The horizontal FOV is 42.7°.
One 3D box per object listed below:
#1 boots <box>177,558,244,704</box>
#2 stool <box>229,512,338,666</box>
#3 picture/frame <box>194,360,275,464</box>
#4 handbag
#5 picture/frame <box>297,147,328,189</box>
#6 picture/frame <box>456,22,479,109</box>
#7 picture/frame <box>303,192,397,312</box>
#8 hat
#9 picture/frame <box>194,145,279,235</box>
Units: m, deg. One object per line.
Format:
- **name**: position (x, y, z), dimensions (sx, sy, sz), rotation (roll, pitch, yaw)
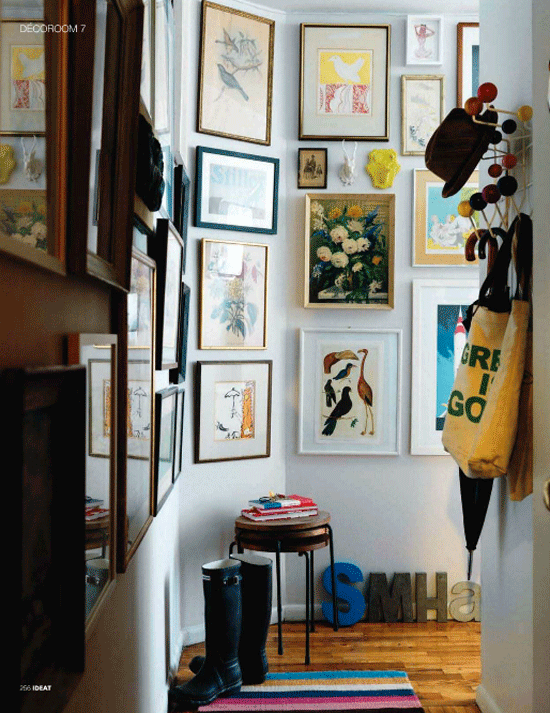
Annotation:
- **boots**: position (-0.211, 0.939, 2.414), dimensions (0.187, 0.449, 0.365), rotation (2, -2, 4)
- **stool**: position (0.116, 0.826, 2.920), dimensions (0.438, 0.697, 0.544), rotation (-5, -6, 32)
- **picture/frame**: position (-0.197, 0.247, 3.121), dimensions (0.383, 0.564, 0.037), rotation (0, -1, -38)
- **handbag**: position (0.614, -0.015, 2.035), dimensions (0.211, 0.767, 0.352), rotation (2, -2, 5)
- **picture/frame**: position (0.172, -0.890, 3.329), dimensions (0.144, 0.246, 0.015), rotation (0, 1, -5)
- **picture/frame**: position (0.918, -1.383, 3.365), dimensions (0.125, 0.393, 0.089), rotation (2, -2, -3)
- **picture/frame**: position (0.339, -0.496, 3.347), dimensions (0.425, 0.691, 0.024), rotation (0, -1, -9)
- **hat**: position (0.526, -0.594, 2.058), dimensions (0.084, 0.257, 0.221), rotation (20, 40, -2)
- **picture/frame**: position (-0.189, -0.734, 3.118), dimensions (0.345, 0.361, 0.025), rotation (2, 0, -38)
